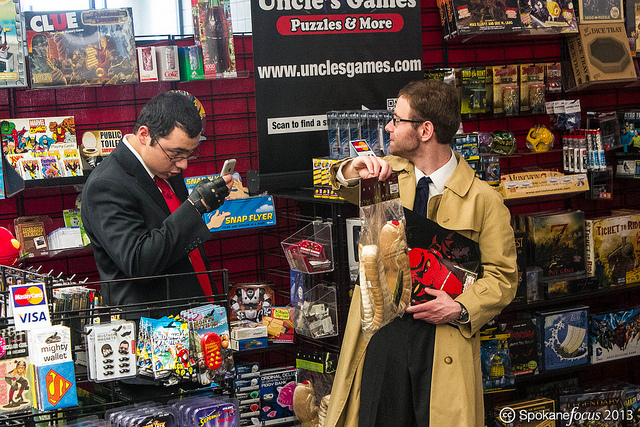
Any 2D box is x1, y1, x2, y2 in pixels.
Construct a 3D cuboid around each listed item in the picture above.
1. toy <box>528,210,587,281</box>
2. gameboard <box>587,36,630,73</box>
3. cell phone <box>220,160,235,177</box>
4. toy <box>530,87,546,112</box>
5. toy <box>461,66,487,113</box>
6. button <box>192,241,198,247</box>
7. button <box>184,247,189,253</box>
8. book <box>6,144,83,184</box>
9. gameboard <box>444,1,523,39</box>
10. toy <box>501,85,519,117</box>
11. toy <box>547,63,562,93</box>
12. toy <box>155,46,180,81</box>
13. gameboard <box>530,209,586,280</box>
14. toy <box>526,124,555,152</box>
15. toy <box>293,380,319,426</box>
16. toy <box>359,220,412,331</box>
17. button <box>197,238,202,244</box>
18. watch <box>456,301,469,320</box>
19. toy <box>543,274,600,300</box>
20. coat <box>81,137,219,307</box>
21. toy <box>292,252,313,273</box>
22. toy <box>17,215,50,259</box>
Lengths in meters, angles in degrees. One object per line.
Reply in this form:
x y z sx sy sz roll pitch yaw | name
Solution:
1.810 0.238 4.838 0.504 0.482 0.169 -4 5 -19 | toy
2.366 -1.304 5.076 0.308 0.323 0.071 4 -14 -8 | gameboard
-0.466 -0.227 3.125 0.079 0.082 0.148 -7 2 -9 | cell phone
1.778 -0.926 5.061 0.114 0.174 0.038 -7 1 -18 | toy
1.219 -0.979 4.915 0.219 0.329 0.060 -7 1 -23 | toy
-0.635 0.152 3.158 0.025 0.025 0.006 -4 14 -19 | button
-0.673 0.183 3.155 0.017 0.026 0.032 -6 2 17 | button
-1.805 -0.322 4.080 0.429 0.267 0.114 -8 2 -26 | book
1.231 -1.471 4.679 0.548 0.277 0.229 -8 14 -13 | gameboard
1.555 -0.916 5.020 0.154 0.229 0.082 -7 1 -19 | toy
1.978 -1.149 5.227 0.149 0.211 0.054 -7 1 -26 | toy
-1.056 -1.042 4.318 0.155 0.241 0.059 -7 1 -16 | toy
1.806 0.233 4.839 0.497 0.486 0.171 -4 8 -18 | gameboard
1.767 -0.609 5.011 0.188 0.202 0.217 0 12 7 | toy
-0.090 1.258 4.113 0.084 0.268 0.186 -2 0 -17 | toy
0.312 0.277 2.819 0.320 0.462 0.120 -8 2 -38 | toy
-0.614 0.136 3.156 0.024 0.025 0.007 1 5 -13 | button
0.711 0.479 3.061 0.044 0.078 0.034 -7 1 -8 | watch
1.967 0.541 4.829 0.390 0.127 0.114 -10 17 4 | toy
-0.895 0.029 3.227 0.624 0.897 0.388 -7 2 -22 | coat
-0.114 0.316 4.085 0.033 0.114 0.121 -21 21 -30 | toy
-1.940 0.150 4.205 0.173 0.310 0.092 -7 1 -28 | toy
